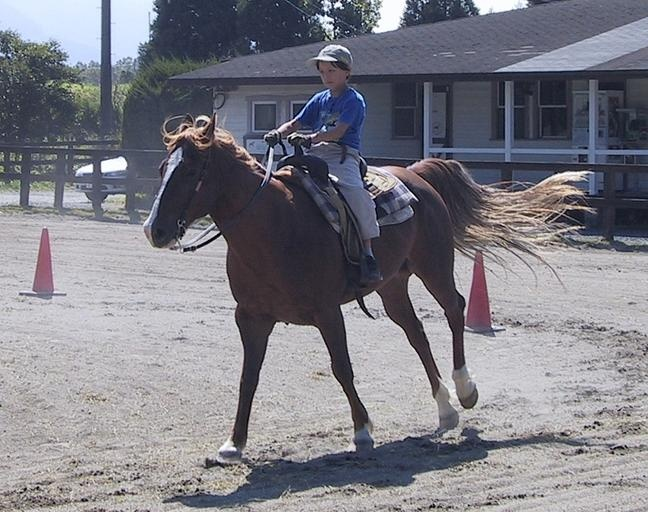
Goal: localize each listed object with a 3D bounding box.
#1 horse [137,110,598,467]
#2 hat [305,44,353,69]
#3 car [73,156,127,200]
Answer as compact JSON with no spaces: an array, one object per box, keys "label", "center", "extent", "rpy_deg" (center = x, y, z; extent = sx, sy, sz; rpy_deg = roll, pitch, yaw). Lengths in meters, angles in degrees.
[{"label":"horse","center":[0.386,0.124,7.499],"extent":[4.116,2.698,1.247],"rpy_deg":[-9,15,-40]},{"label":"hat","center":[0.052,-1.738,7.418],"extent":[0.349,0.212,0.502],"rpy_deg":[0,11,-2]},{"label":"car","center":[-6.355,-2.237,24.273],"extent":[1.436,0.851,2.558],"rpy_deg":[5,14,20]}]
